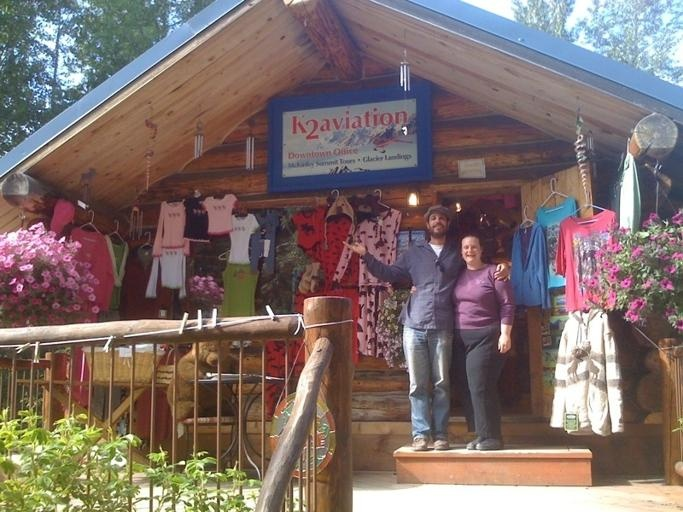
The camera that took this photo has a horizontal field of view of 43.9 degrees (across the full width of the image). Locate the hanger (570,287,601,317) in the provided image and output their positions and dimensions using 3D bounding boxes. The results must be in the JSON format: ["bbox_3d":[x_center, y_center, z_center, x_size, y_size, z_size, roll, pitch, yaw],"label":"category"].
[{"bbox_3d":[2.602,0.490,9.008,0.270,0.295,0.075,-1,-10,41],"label":"hanger"}]

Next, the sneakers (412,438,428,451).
[{"bbox_3d":[0.814,1.940,8.783,0.172,0.127,0.171,-1,-16,6],"label":"sneakers"}]

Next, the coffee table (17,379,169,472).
[{"bbox_3d":[-2.540,1.674,8.914,1.162,0.936,4.089,5,-16,-14],"label":"coffee table"}]

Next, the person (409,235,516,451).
[{"bbox_3d":[1.501,0.889,8.933,0.678,2.239,0.460,-7,-17,26],"label":"person"}]

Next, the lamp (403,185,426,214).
[{"bbox_3d":[0.908,-0.676,10.258,0.263,0.536,0.278,0,-3,17],"label":"lamp"}]

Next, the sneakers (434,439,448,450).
[{"bbox_3d":[1.025,1.929,8.720,0.151,0.118,0.153,-1,-16,6],"label":"sneakers"}]
